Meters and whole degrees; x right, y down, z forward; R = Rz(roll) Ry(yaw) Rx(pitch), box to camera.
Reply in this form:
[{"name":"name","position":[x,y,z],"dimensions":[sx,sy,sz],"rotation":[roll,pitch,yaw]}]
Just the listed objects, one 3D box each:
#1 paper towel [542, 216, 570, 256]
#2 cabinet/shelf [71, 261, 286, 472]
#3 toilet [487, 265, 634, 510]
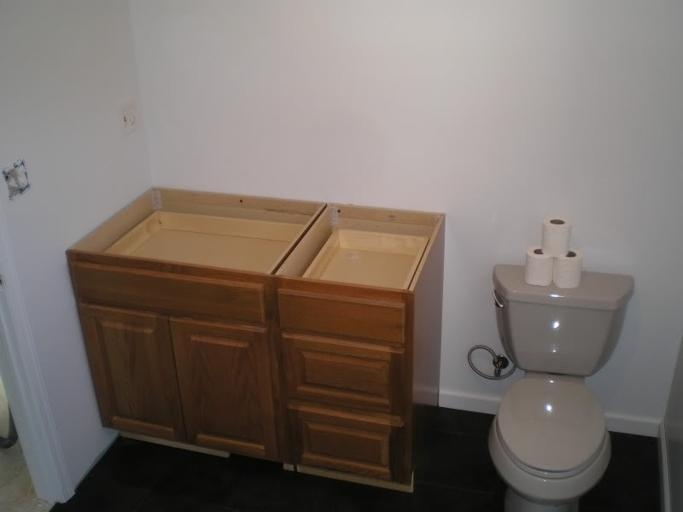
[{"name":"paper towel","position":[0.950,-0.085,2.307],"dimensions":[0.111,0.145,0.120],"rotation":[1,19,5]},{"name":"cabinet/shelf","position":[-0.735,0.469,2.349],"dimensions":[0.831,0.868,0.308],"rotation":[5,30,12]},{"name":"toilet","position":[0.966,0.569,2.270],"dimensions":[0.560,0.873,0.803],"rotation":[7,40,20]}]
